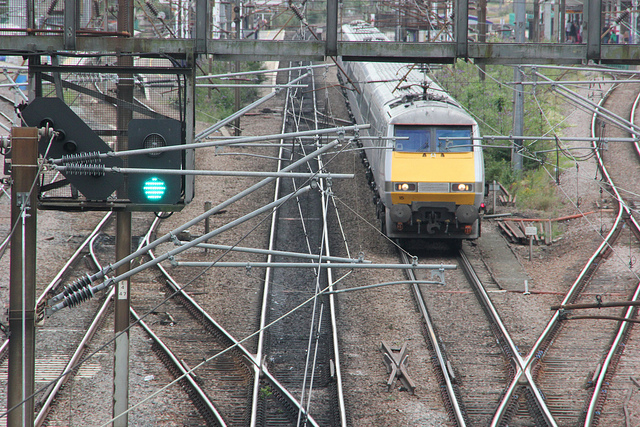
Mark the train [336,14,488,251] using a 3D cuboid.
[{"bbox_3d":[3.005,-3.266,45.929,3.092,3.220,13.516,-2,23,-5],"label":"train"}]
